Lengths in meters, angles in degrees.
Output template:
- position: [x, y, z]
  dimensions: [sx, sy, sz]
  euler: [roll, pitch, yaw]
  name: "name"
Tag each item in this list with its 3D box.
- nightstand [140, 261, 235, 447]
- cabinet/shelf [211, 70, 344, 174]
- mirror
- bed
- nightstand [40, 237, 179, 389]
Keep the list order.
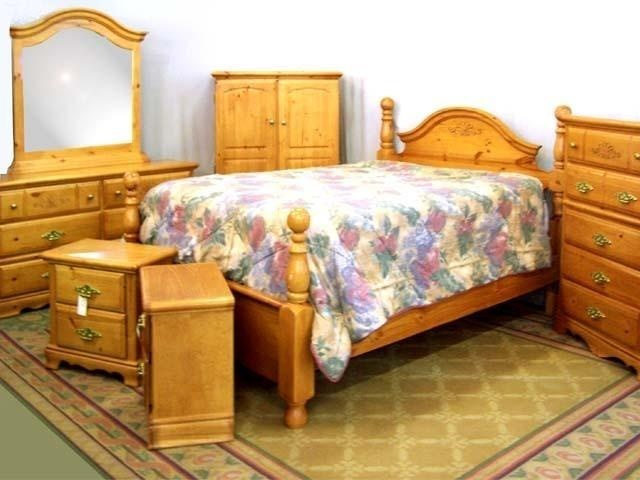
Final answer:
- position: [-0.635, 0.553, 2.612]
  dimensions: [0.439, 0.732, 0.452]
  euler: [-5, 15, -14]
  name: "nightstand"
- position: [-0.531, -1.043, 5.133]
  dimensions: [1.431, 1.097, 0.532]
  euler: [-11, 21, -39]
  name: "cabinet/shelf"
- position: [-1.973, -1.230, 4.329]
  dimensions: [0.329, 1.294, 1.225]
  euler: [10, 18, 37]
  name: "mirror"
- position: [0.490, -0.175, 3.927]
  dimensions: [3.028, 1.520, 2.104]
  euler: [-11, 18, -38]
  name: "bed"
- position: [-1.167, 0.424, 3.227]
  dimensions: [0.834, 0.698, 0.570]
  euler: [4, 6, 32]
  name: "nightstand"
